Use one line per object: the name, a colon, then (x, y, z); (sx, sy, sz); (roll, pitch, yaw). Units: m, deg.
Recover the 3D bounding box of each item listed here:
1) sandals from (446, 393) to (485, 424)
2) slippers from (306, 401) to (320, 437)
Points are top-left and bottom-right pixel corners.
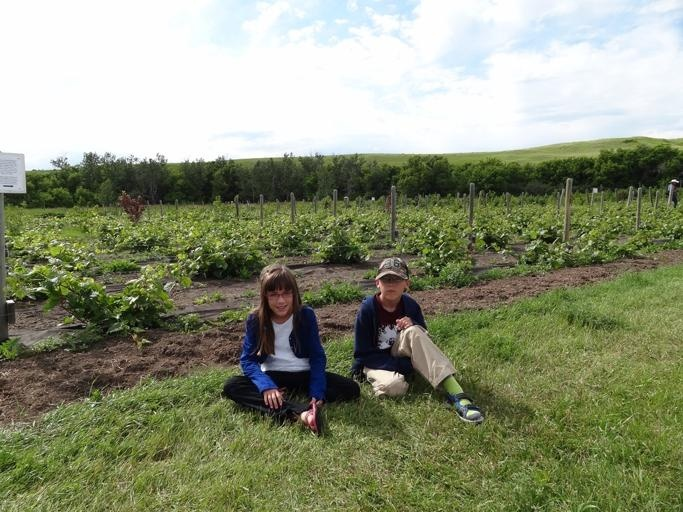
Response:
sandals: (1.099, 1.331, 4.090); (0.212, 0.178, 0.370); (-4, 6, -8)
slippers: (-0.236, 1.369, 3.901); (0.091, 0.239, 0.084); (-14, -28, 10)
